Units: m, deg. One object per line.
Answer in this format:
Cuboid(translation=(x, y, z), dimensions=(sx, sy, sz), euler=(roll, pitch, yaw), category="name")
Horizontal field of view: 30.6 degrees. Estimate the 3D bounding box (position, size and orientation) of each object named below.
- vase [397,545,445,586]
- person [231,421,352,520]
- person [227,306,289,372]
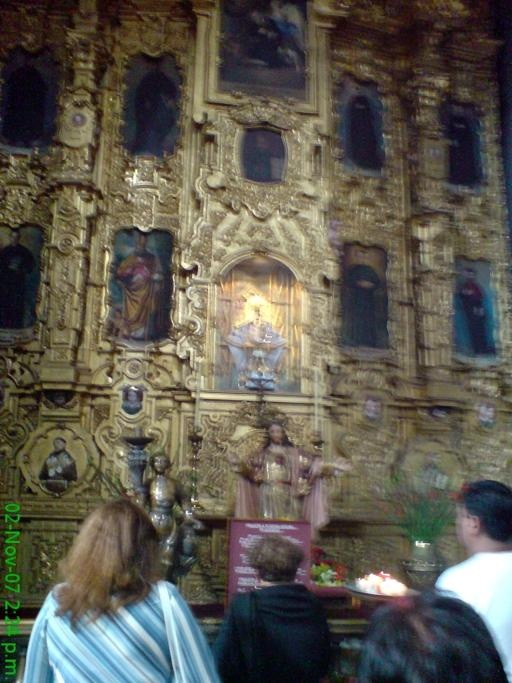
Cuboid(translation=(1.346, 1.802, 7.568), dimensions=(0.402, 0.399, 0.395), euler=(1, -4, 17), category="vase")
Cuboid(translation=(0.284, 1.332, 9.397), dimensions=(0.928, 1.059, 0.437), euler=(2, -14, -1), category="person")
Cuboid(translation=(0.006, -0.004, 11.631), dimensions=(0.877, 0.972, 0.249), euler=(1, -14, -3), category="person")
